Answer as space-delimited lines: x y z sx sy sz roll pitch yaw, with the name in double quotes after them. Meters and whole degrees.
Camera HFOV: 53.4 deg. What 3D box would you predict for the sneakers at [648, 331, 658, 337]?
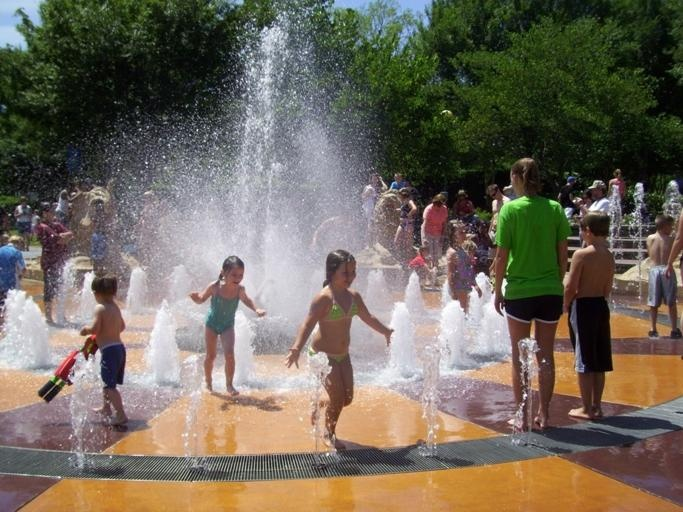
4.237 1.074 9.196 0.054 0.064 0.144 0 -5 -2 "sneakers"
